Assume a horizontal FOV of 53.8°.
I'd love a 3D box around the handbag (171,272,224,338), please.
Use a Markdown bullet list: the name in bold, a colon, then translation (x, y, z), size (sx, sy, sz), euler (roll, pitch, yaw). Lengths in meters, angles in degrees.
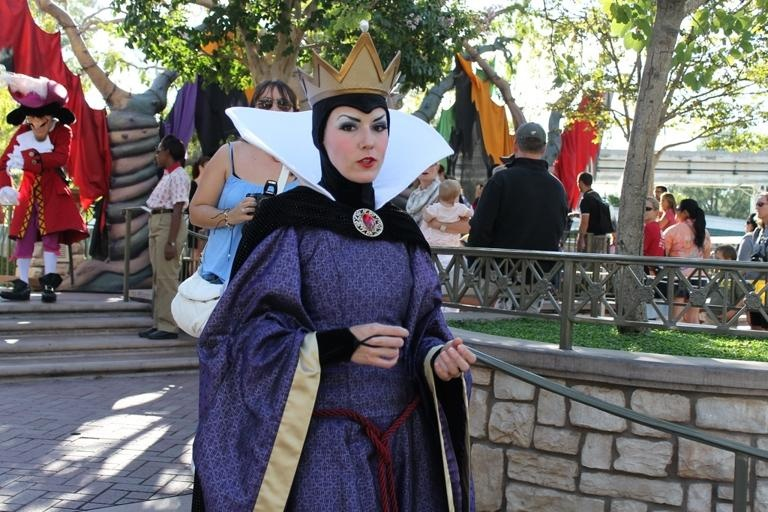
- **handbag**: translation (-1.323, 0.311, 5.304), size (0.184, 0.424, 0.421), euler (22, 26, -24)
